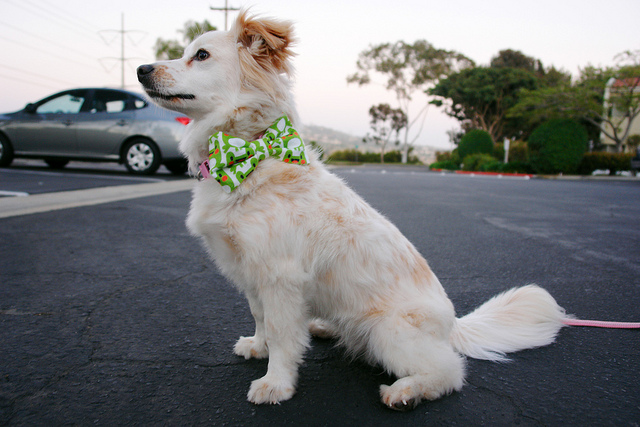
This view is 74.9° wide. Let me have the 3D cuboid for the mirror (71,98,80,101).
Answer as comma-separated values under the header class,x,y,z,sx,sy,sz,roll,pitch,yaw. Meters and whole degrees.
class,x,y,z,sx,sy,sz,roll,pitch,yaw
mirror,-5.821,-2.717,9.933,0.183,0.063,0.025,2,11,-2
